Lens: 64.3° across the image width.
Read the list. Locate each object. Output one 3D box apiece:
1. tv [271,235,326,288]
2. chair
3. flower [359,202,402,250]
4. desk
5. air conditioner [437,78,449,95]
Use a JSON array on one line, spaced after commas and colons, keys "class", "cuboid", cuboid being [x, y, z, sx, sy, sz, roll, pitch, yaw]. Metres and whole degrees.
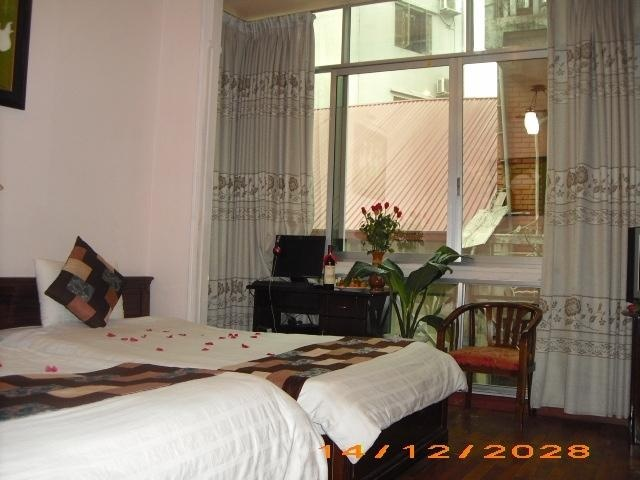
[{"class": "tv", "cuboid": [-0.195, 0.197, 4.814, 0.413, 0.324, 0.178, 0, -18, 17]}, {"class": "chair", "cuboid": [1.381, 0.964, 4.027, 0.649, 0.928, 0.725, 7, -6, -44]}, {"class": "flower", "cuboid": [0.588, -0.133, 4.880, 0.409, 0.504, 0.452, -1, -3, 5]}, {"class": "desk", "cuboid": [-0.099, 0.754, 4.607, 0.987, 0.681, 0.572, 3, -2, 9]}, {"class": "air conditioner", "cuboid": [1.175, -1.464, 4.862, 0.164, 0.178, 0.082, -1, -1, -1]}]
